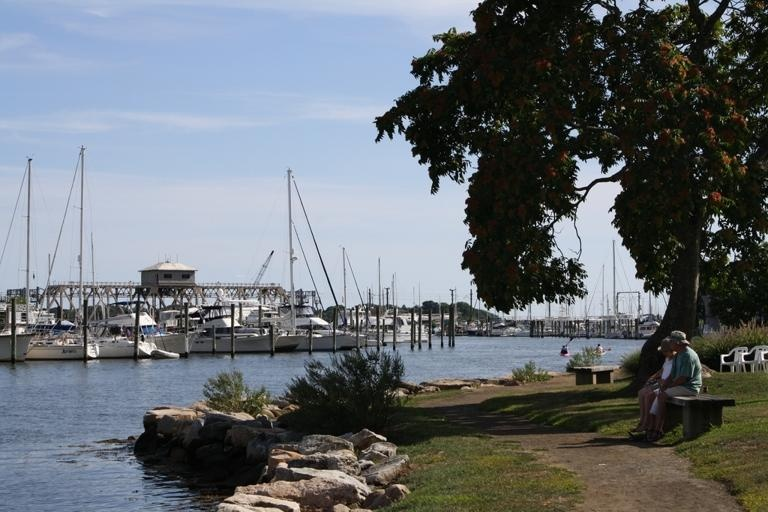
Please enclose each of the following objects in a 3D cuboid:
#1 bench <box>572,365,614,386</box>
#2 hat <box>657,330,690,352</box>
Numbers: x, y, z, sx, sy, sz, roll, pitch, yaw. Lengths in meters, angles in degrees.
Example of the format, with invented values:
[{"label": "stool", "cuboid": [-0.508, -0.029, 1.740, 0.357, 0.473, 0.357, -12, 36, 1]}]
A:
[{"label": "bench", "cuboid": [8.048, 4.610, 47.330, 1.376, 0.760, 3.153, -2, -7, 8]}, {"label": "hat", "cuboid": [8.729, 2.527, 36.071, 0.793, 0.390, 0.769, -4, 2, -35]}]
